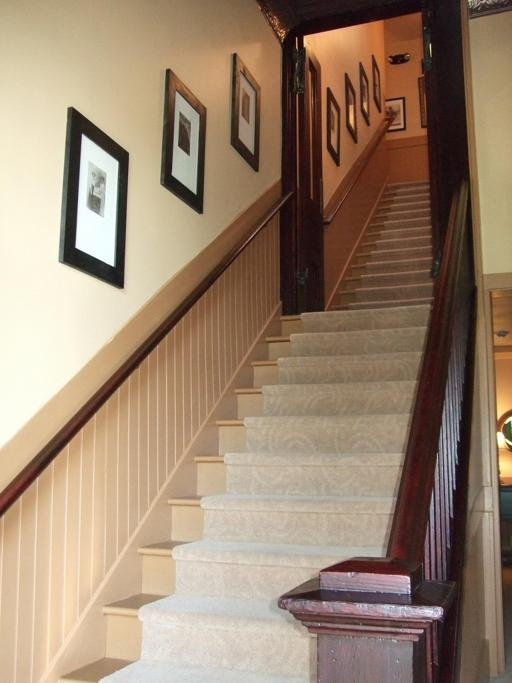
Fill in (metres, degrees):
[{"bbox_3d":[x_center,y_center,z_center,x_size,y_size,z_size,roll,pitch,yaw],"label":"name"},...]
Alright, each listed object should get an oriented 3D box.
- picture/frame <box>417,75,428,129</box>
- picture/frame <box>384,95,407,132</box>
[{"bbox_3d":[2.725,-3.980,8.731,0.081,0.973,0.557,-2,4,12],"label":"picture/frame"},{"bbox_3d":[2.348,-3.836,8.923,0.340,0.635,0.258,-2,4,18],"label":"picture/frame"}]
